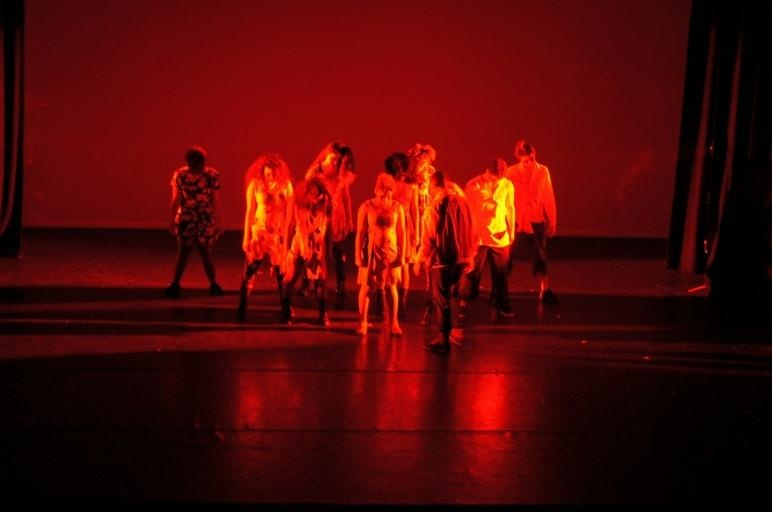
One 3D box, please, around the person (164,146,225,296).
[{"bbox_3d":[-2.465,-0.424,8.218,0.734,1.935,0.514,2,3,-9],"label":"person"}]
